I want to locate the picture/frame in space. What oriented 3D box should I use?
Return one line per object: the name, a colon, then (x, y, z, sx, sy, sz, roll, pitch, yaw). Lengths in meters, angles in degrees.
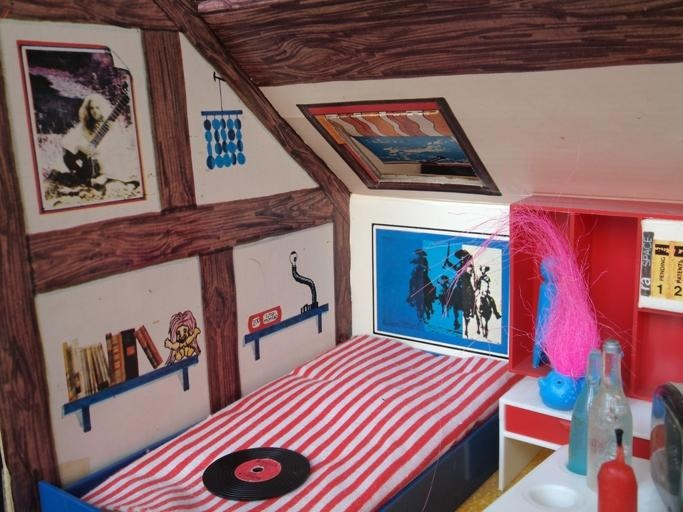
picture/frame: (0.335, -0.613, 2.930, 1.000, 0.547, 0.609, 4, 11, 34)
